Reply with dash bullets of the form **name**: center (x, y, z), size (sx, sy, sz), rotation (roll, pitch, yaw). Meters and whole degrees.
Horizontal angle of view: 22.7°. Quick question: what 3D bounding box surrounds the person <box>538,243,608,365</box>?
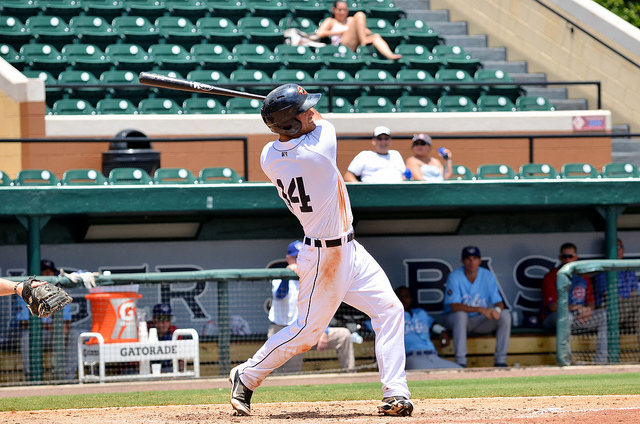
- **person**: center (3.523, 1.274, 22.205), size (0.896, 1.828, 1.491), rotation (-3, -8, 4)

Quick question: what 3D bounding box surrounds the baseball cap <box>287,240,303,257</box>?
- **baseball cap**: center (-0.341, 0.478, 21.396), size (0.172, 0.210, 0.432), rotation (-2, -8, -4)

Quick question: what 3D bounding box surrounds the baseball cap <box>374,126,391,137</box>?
- **baseball cap**: center (0.866, -1.145, 22.255), size (0.264, 0.144, 0.428), rotation (0, 0, -2)

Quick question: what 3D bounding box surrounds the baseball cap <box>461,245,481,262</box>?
- **baseball cap**: center (2.190, 0.576, 22.350), size (0.286, 0.210, 0.467), rotation (1, 8, 8)

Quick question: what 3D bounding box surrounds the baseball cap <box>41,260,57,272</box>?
- **baseball cap**: center (-3.794, 0.747, 22.246), size (0.205, 0.180, 0.373), rotation (-1, -9, -10)

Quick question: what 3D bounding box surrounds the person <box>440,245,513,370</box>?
- **person**: center (2.180, 1.346, 22.087), size (0.811, 1.765, 0.830), rotation (0, -3, -4)

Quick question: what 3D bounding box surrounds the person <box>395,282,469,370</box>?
- **person**: center (1.548, 1.675, 22.162), size (0.773, 1.052, 0.754), rotation (0, -15, -13)

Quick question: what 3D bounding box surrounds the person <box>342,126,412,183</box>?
- **person**: center (0.779, -0.857, 22.249), size (0.734, 0.863, 0.898), rotation (0, 12, -14)

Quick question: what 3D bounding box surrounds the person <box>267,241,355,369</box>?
- **person**: center (-0.048, 1.217, 21.969), size (1.114, 1.745, 1.364), rotation (0, 2, -3)

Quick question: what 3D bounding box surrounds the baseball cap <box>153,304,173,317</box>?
- **baseball cap**: center (-2.158, 1.345, 21.711), size (0.246, 0.163, 0.073), rotation (-2, -8, -3)

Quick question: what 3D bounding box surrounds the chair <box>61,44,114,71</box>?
- **chair**: center (-3.691, -2.498, 25.295), size (0.795, 0.564, 0.517), rotation (-1, -9, -10)

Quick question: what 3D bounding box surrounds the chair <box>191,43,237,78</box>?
- **chair**: center (-1.709, -2.536, 25.572), size (0.563, 0.257, 0.646), rotation (3, 29, -8)
